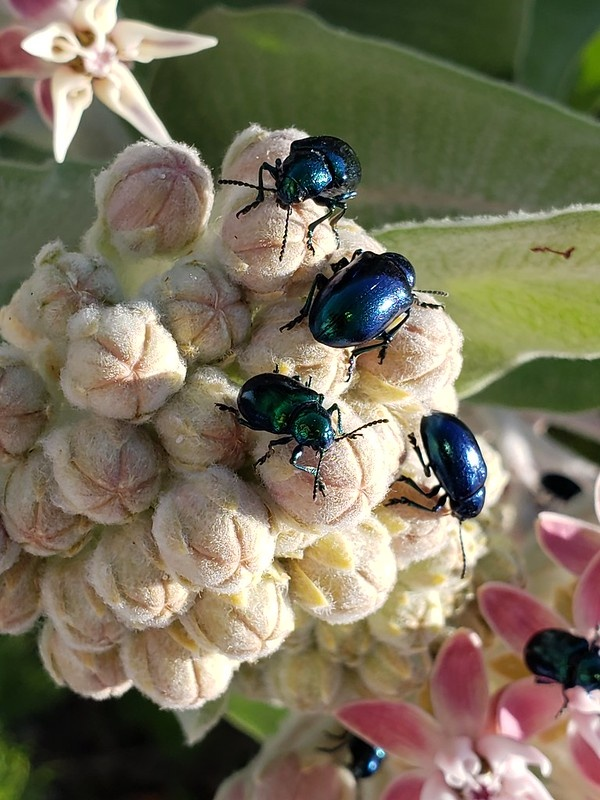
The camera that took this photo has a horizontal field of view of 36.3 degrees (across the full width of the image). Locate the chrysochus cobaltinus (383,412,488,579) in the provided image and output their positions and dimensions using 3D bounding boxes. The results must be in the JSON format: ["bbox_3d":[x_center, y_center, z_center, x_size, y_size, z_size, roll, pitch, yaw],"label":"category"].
[{"bbox_3d":[0.183,0.088,1.076,0.053,0.134,0.122,-5,91,36],"label":"chrysochus cobaltinus"}]

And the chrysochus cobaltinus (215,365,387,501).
[{"bbox_3d":[-0.009,0.039,0.926,0.151,0.040,0.131,38,64,10],"label":"chrysochus cobaltinus"}]

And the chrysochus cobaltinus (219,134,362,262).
[{"bbox_3d":[0.004,-0.251,1.059,0.144,0.099,0.039,-14,78,37],"label":"chrysochus cobaltinus"}]

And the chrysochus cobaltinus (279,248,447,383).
[{"bbox_3d":[0.064,-0.093,0.966,0.121,0.050,0.154,36,53,6],"label":"chrysochus cobaltinus"}]
